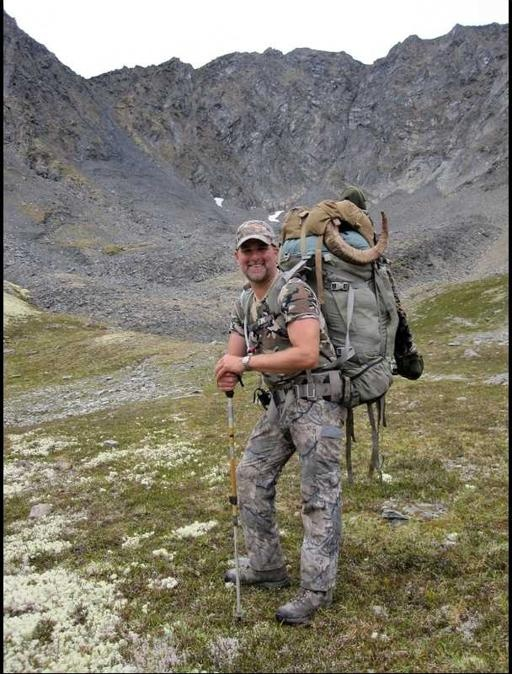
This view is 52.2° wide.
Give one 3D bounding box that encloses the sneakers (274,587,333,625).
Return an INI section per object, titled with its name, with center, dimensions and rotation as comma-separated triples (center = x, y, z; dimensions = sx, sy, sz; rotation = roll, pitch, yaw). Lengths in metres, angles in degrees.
[sneakers]
center = 0.559, 3.122, 6.077
dimensions = 0.627, 0.271, 0.265
rotation = 2, -15, -35
